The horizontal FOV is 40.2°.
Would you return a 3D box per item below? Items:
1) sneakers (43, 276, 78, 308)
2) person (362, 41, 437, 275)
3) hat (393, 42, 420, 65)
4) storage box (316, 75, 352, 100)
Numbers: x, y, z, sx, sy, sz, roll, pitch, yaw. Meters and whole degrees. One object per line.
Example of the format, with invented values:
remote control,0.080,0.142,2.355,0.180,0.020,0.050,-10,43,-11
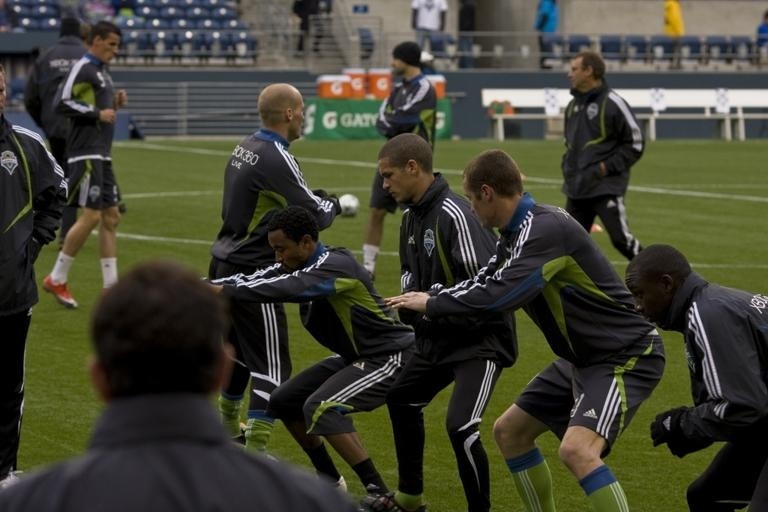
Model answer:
sneakers,-3.224,0.338,10.583,0.432,0.200,0.150,36,15,12
person,0.182,-1.147,12.562,0.942,2.907,0.780,1,-7,33
hat,0.290,-2.436,12.467,0.302,0.185,0.262,17,16,0
storage box,-1.153,-4.029,25.000,0.903,0.543,0.588,0,9,-3
